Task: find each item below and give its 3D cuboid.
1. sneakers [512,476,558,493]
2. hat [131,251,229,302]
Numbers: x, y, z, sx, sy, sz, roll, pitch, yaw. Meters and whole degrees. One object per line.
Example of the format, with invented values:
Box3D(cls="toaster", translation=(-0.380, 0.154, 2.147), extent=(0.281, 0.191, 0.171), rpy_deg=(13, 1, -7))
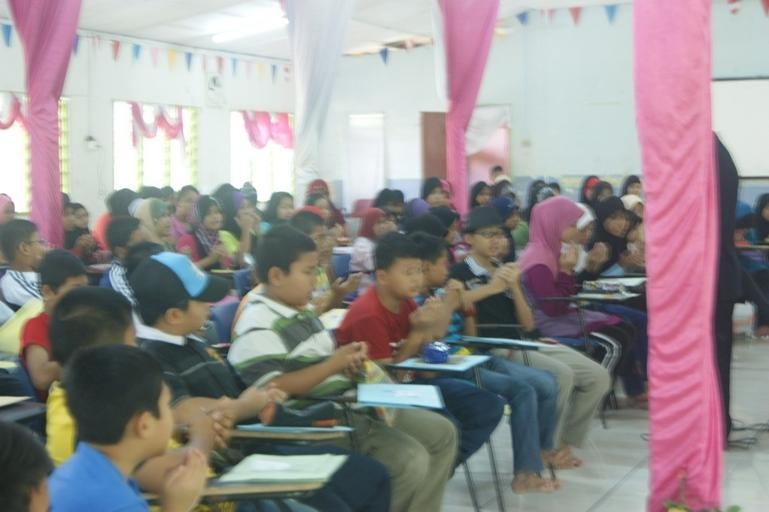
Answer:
Box3D(cls="sneakers", translation=(0.802, 1.202, 4.042), extent=(0.243, 0.101, 0.091), rpy_deg=(-3, -3, 2))
Box3D(cls="hat", translation=(-0.887, 0.097, 3.156), extent=(0.438, 0.205, 0.273), rpy_deg=(-13, 14, -29))
